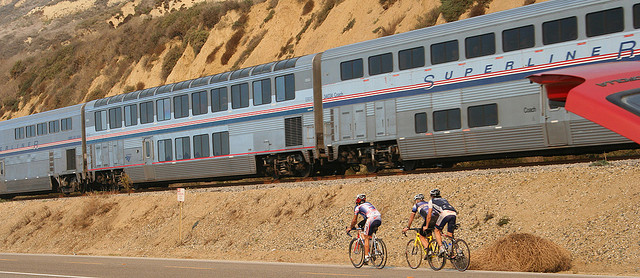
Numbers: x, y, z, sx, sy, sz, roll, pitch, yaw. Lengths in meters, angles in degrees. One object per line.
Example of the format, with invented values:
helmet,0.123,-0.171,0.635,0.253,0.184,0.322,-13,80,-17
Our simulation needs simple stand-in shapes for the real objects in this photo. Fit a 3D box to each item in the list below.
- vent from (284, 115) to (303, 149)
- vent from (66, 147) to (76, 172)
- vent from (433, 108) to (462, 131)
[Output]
vent,-2.716,-0.654,88.755,2.101,3.348,0.427,-9,-6,16
vent,-28.220,2.370,97.488,1.525,2.682,0.162,-10,-7,25
vent,12.716,-1.913,84.979,2.738,1.556,0.214,-3,-4,18
